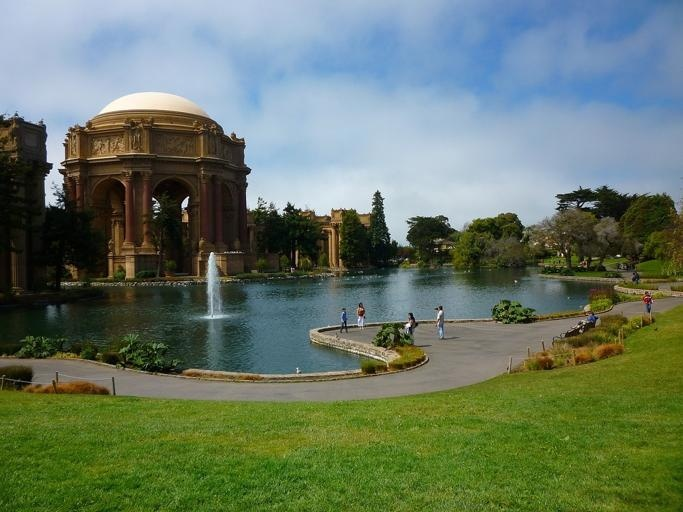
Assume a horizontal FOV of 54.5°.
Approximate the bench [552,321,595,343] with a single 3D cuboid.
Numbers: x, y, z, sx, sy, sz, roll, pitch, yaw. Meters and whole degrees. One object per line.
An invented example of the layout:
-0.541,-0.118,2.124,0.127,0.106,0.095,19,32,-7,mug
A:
10.540,3.373,29.728,1.651,0.659,1.006,-19,9,-26,bench
